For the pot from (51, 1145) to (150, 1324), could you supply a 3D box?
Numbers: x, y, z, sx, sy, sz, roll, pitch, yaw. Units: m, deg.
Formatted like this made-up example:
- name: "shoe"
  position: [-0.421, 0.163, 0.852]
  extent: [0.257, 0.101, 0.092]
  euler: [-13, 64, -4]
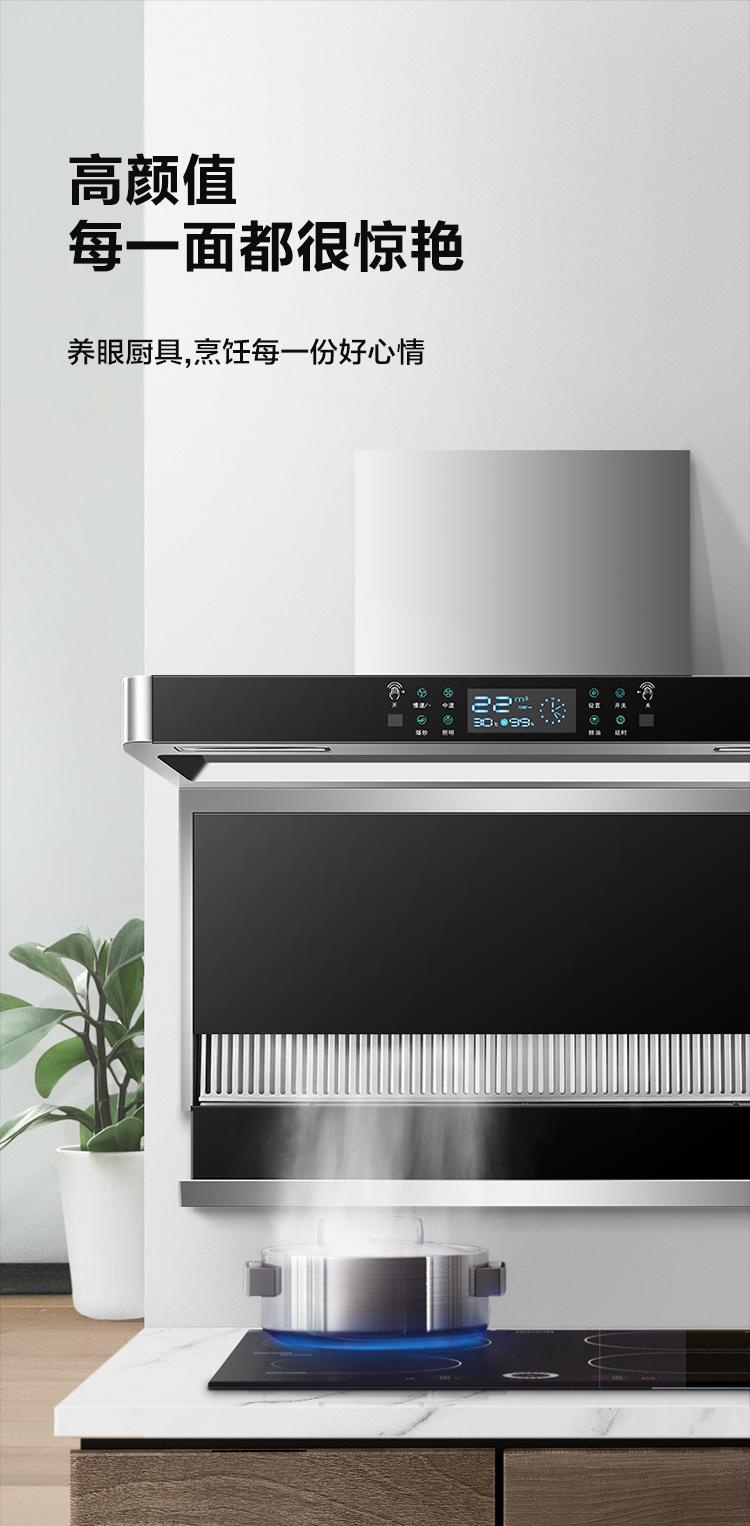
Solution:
- name: "pot"
  position: [-0.436, 0.770, 2.085]
  extent: [0.147, 0.278, 0.082]
  euler: [-3, -8, 15]
